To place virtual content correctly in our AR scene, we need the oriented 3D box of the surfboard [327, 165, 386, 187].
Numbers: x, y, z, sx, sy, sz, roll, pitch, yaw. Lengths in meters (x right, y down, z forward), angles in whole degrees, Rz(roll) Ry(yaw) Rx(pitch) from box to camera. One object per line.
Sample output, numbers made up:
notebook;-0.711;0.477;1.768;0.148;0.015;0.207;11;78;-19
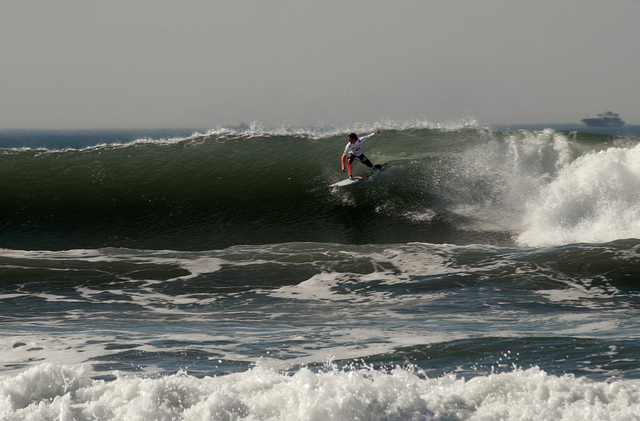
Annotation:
surfboard;0.935;-0.863;19.155;1.682;0.156;0.260;-21;23;-38
